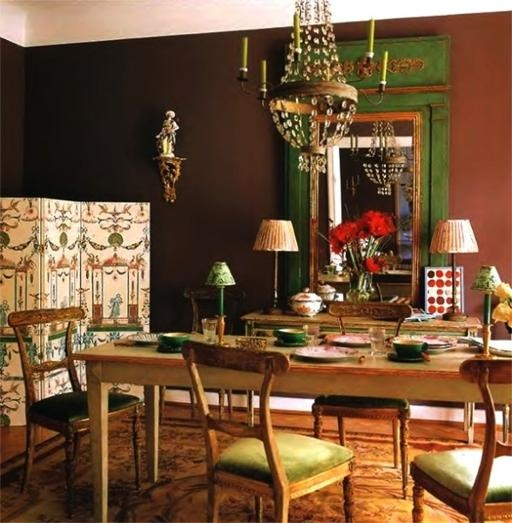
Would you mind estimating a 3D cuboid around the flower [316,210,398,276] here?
[{"bbox_3d":[0.669,-0.153,3.634,0.492,0.489,0.493,-1,-4,-1],"label":"flower"}]

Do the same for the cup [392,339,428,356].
[{"bbox_3d":[0.678,0.372,2.435,0.108,0.047,0.089,0,0,12],"label":"cup"}]

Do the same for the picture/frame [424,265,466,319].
[{"bbox_3d":[1.408,0.230,4.199,0.398,0.537,0.025,0,1,12],"label":"picture/frame"}]

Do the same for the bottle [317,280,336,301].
[{"bbox_3d":[0.569,0.231,4.532,0.166,0.110,0.138,-2,-7,27],"label":"bottle"}]

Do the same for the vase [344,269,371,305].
[{"bbox_3d":[0.651,0.159,3.599,0.177,0.229,0.164,0,2,-11],"label":"vase"}]
